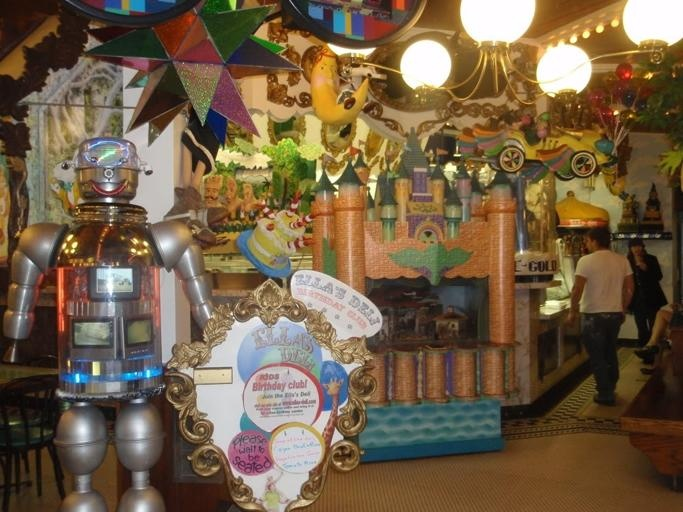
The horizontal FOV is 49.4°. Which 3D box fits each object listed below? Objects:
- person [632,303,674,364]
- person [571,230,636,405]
[{"bbox_3d":[4.044,0.996,9.549,0.278,0.847,0.223,22,12,31],"label":"person"},{"bbox_3d":[2.749,0.756,7.788,0.686,1.606,0.355,-1,4,2],"label":"person"}]
